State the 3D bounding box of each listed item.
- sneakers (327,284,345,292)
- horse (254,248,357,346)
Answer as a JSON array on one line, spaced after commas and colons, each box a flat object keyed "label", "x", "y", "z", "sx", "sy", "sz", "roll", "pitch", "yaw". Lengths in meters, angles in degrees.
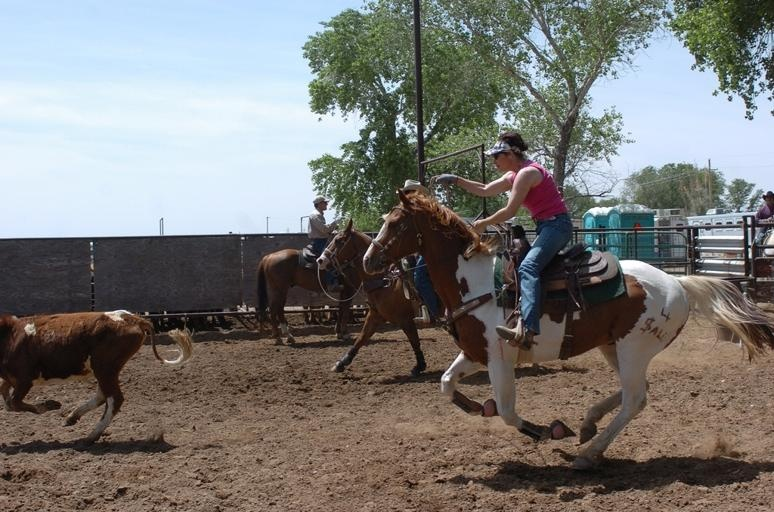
[{"label": "sneakers", "x": -1.098, "y": 0.700, "z": 18.890, "sx": 0.283, "sy": 0.112, "sz": 0.149, "roll": -2, "pitch": 4, "yaw": 6}, {"label": "horse", "x": -1.319, "y": 0.763, "z": 19.310, "sx": 3.183, "sy": 2.192, "sz": 0.802, "roll": -1, "pitch": 1, "yaw": 14}]
